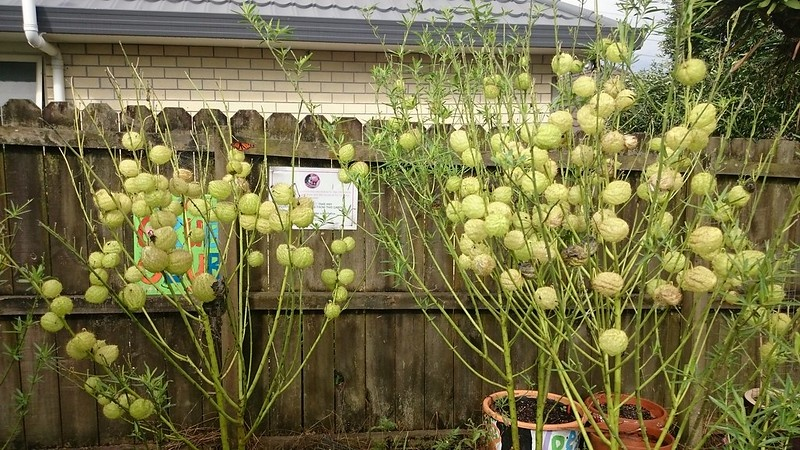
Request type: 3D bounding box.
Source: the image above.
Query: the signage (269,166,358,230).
[{"bbox_3d":[-0.727,-0.245,5.918,0.494,0.409,0.011,0,5,-4],"label":"signage"}]

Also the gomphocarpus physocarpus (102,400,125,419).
[{"bbox_3d":[-2.162,1.405,5.526,0.140,0.150,0.114,-3,6,-11],"label":"gomphocarpus physocarpus"}]

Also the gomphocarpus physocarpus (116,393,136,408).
[{"bbox_3d":[-2.067,1.335,5.529,0.095,0.109,0.063,-11,-13,-5],"label":"gomphocarpus physocarpus"}]

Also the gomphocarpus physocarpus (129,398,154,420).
[{"bbox_3d":[-1.927,1.384,5.511,0.175,0.165,0.143,-1,-3,4],"label":"gomphocarpus physocarpus"}]
